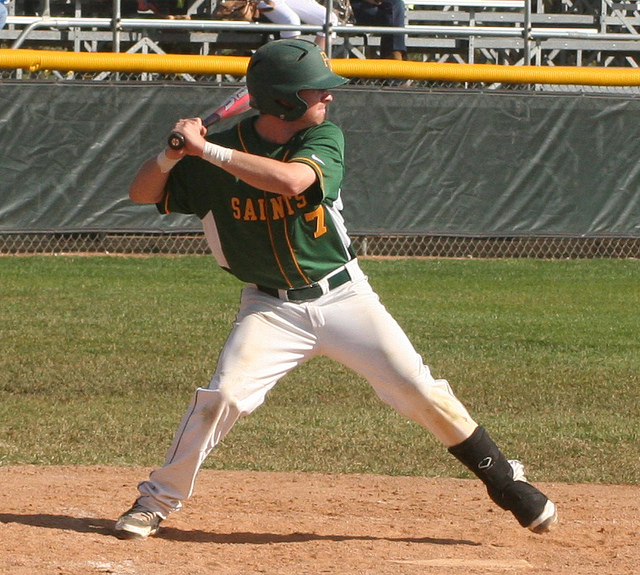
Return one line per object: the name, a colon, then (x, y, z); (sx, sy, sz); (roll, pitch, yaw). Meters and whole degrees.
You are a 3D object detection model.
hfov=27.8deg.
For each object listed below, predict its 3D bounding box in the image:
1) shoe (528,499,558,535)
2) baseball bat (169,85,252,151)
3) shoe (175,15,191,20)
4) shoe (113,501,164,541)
shoe: (1.262, 1.312, 7.309); (0.160, 0.201, 0.073); (3, 15, -32)
baseball bat: (-0.592, -1.011, 7.427); (0.159, 0.113, 0.605); (48, 39, -5)
shoe: (-1.510, -2.978, 14.205); (0.144, 0.043, 0.210); (2, 2, -1)
shoe: (-1.019, 1.311, 7.327); (0.205, 0.178, 0.463); (18, 3, 8)
